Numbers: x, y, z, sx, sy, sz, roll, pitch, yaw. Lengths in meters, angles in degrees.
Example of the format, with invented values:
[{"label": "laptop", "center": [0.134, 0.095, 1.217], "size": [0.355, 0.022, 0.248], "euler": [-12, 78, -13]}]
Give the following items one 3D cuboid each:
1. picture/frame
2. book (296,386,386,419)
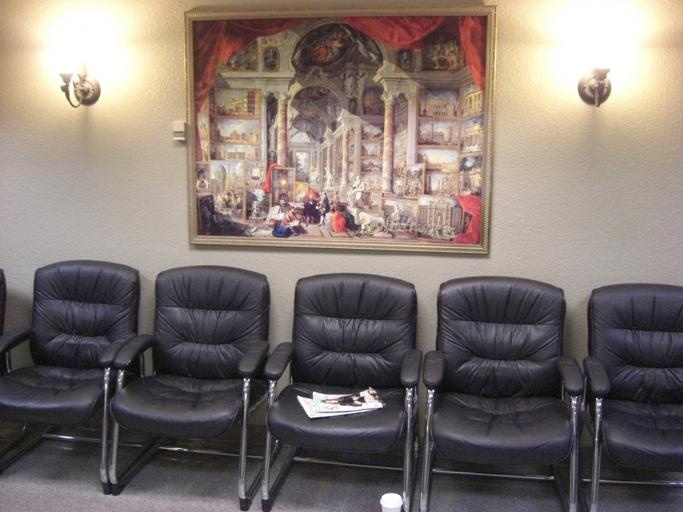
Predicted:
[{"label": "picture/frame", "center": [0.058, -0.858, 3.708], "size": [1.657, 1.246, 0.059], "euler": [2, 6, 5]}, {"label": "book", "center": [-0.005, 0.838, 3.295], "size": [0.490, 0.053, 0.268], "euler": [-1, 7, -11]}]
